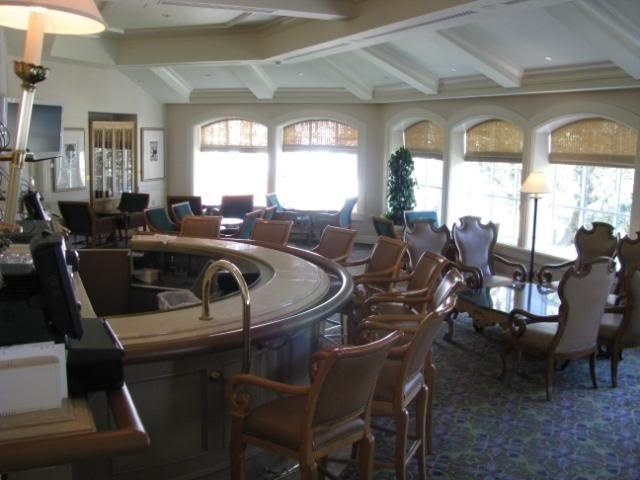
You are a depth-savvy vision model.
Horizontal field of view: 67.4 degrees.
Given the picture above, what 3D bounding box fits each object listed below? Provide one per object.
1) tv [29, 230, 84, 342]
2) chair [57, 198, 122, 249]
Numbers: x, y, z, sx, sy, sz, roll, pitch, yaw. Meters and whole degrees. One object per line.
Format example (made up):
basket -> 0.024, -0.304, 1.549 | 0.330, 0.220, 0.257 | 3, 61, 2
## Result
tv -> -0.669, 0.128, 1.197 | 0.117, 0.261, 0.066 | 5, 11, 16
chair -> -4.534, -0.336, 9.259 | 0.805, 1.289, 0.997 | 5, 11, 23
